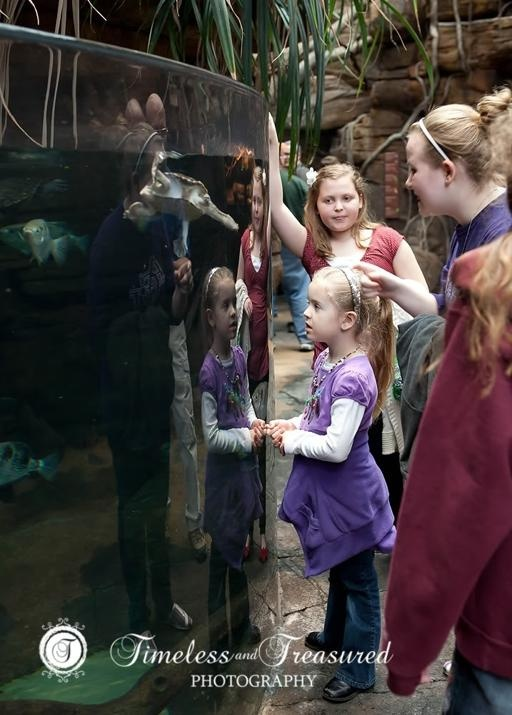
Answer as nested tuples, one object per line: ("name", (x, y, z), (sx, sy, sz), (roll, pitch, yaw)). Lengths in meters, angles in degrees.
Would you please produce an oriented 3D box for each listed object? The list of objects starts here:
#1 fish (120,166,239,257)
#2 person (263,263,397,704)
("fish", (-0.096, -0.253, 0.985), (0.148, 0.059, 0.193), (0, 41, -49))
("person", (0.207, 0.285, 1.617), (0.298, 1.023, 0.491), (3, 12, 13))
